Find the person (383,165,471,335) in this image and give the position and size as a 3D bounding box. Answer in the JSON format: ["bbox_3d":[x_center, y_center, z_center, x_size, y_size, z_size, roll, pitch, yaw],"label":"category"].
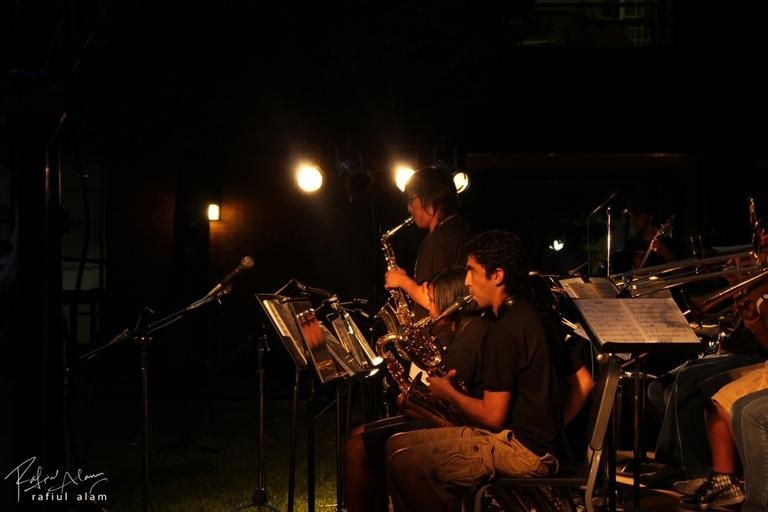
[{"bbox_3d":[0.371,-0.091,6.716,0.679,1.426,0.867,4,9,9],"label":"person"}]

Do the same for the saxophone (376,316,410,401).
[{"bbox_3d":[0.057,0.884,6.393,0.180,0.623,0.452,-19,-11,23],"label":"saxophone"}]

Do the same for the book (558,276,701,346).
[{"bbox_3d":[1.827,0.473,5.461,0.860,0.518,0.205,-6,-15,-8],"label":"book"}]
